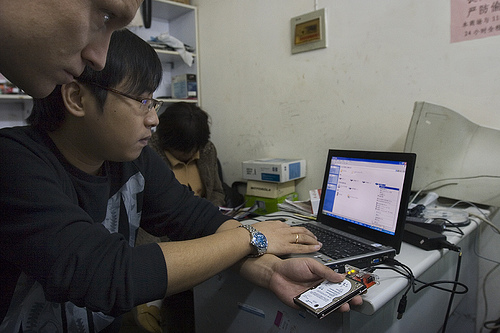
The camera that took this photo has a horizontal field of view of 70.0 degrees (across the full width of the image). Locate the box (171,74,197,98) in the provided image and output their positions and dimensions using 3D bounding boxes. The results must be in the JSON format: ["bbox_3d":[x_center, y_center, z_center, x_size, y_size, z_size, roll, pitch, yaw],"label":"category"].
[{"bbox_3d":[-0.508,-0.644,2.886,0.128,0.199,0.236,-10,9,-42],"label":"box"}]

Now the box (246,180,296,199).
[{"bbox_3d":[0.119,0.139,2.210,0.151,0.068,0.157,2,3,37],"label":"box"}]

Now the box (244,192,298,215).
[{"bbox_3d":[0.147,0.220,2.217,0.217,0.104,0.157,3,6,44],"label":"box"}]

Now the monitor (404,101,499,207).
[{"bbox_3d":[0.957,-0.082,1.828,0.470,0.470,0.457,5,8,32],"label":"monitor"}]

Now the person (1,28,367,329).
[{"bbox_3d":[-0.294,-0.014,1.213,0.974,0.865,0.593,0,16,-1],"label":"person"}]

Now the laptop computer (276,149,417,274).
[{"bbox_3d":[0.274,0.136,1.387,0.602,0.369,0.536,-7,8,-41],"label":"laptop computer"}]

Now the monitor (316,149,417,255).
[{"bbox_3d":[0.340,0.102,1.385,0.335,0.390,0.421,7,3,-34],"label":"monitor"}]
